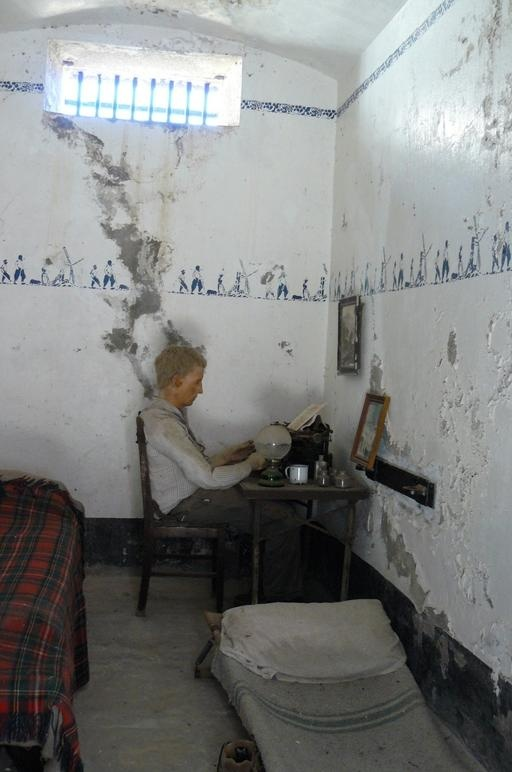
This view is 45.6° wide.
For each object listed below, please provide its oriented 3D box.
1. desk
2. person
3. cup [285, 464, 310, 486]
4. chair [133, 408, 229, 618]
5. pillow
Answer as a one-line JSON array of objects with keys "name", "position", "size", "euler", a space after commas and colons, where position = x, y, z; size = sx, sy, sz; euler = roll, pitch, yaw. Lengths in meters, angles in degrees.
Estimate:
[{"name": "desk", "position": [0.208, 0.831, 3.541], "size": [0.706, 0.724, 0.721], "euler": [0, 2, -10]}, {"name": "person", "position": [-0.194, 0.556, 3.737], "size": [0.865, 1.570, 0.695], "euler": [-2, 4, -6]}, {"name": "cup", "position": [0.229, 0.486, 3.389], "size": [0.122, 0.090, 0.081], "euler": [0, 2, -7]}, {"name": "chair", "position": [-0.476, 0.763, 3.738], "size": [0.535, 1.196, 0.795], "euler": [2, 8, -11]}, {"name": "pillow", "position": [0.268, 1.143, 2.737], "size": [0.504, 0.082, 0.367], "euler": [3, 17, -12]}]
